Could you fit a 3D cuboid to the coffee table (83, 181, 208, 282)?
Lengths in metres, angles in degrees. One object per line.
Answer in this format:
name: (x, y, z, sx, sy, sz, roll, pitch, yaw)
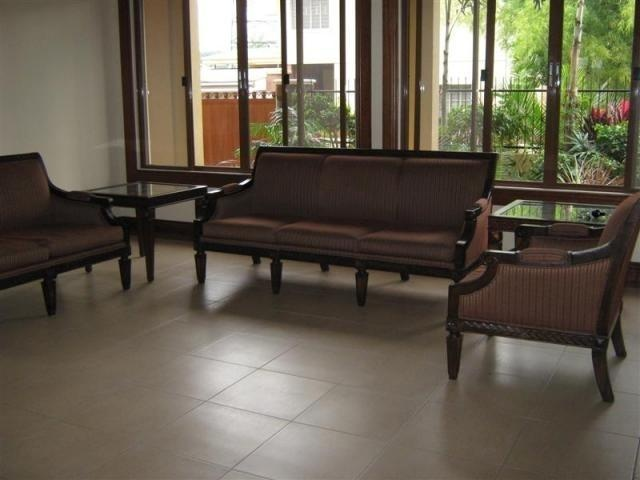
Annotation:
coffee table: (-1.585, -0.132, 5.006, 1.016, 0.911, 1.044, 4, 8, 30)
